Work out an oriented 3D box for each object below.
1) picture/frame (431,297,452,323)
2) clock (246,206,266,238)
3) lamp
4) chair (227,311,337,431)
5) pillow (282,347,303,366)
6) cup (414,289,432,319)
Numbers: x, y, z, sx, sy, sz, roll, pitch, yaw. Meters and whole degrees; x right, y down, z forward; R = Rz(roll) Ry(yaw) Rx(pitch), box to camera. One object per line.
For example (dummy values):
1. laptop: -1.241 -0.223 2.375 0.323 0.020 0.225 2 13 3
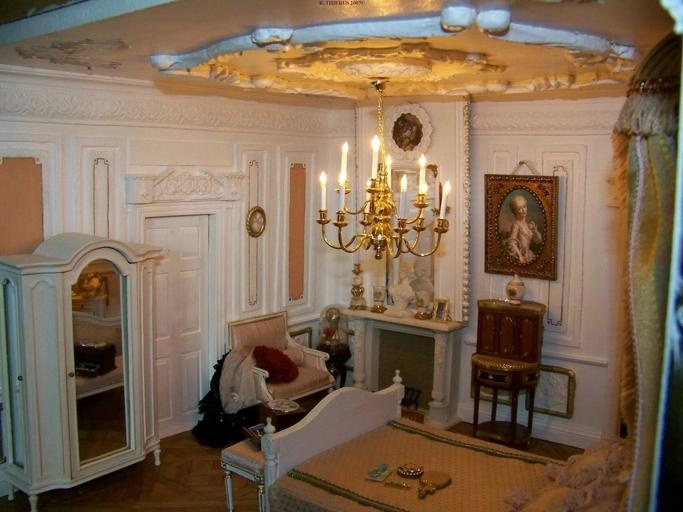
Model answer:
1. picture/frame: 1.331 0.717 7.041 0.322 0.409 0.261 2 0 33
2. clock: -1.181 -0.472 7.224 0.042 0.346 0.360 3 21 30
3. lamp: 0.367 -0.742 4.643 1.158 1.498 1.090 3 2 30
4. chair: -0.796 1.501 6.953 0.903 1.181 1.134 9 8 38
5. pillow: -0.639 1.388 7.335 0.271 0.243 0.200 -5 8 -38
6. cup: 1.130 0.668 7.249 0.225 0.340 0.415 -1 7 8
